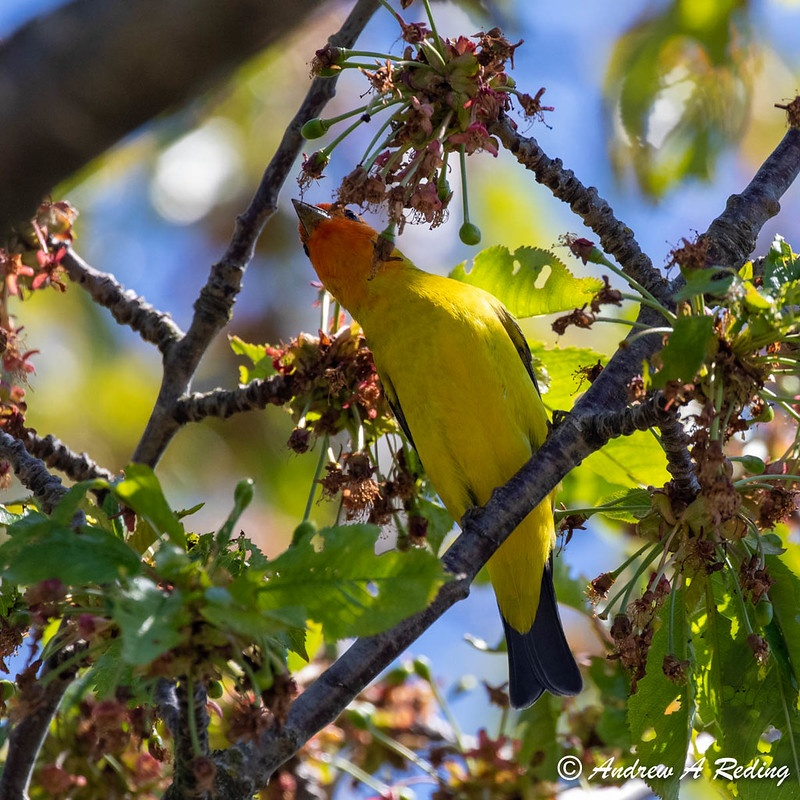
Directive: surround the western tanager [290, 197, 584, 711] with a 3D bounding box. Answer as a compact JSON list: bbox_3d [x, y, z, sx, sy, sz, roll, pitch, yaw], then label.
[{"bbox_3d":[0.183,0.217,5.239,0.637,2.049,0.888,-19,-26,-47],"label":"western tanager"}]
